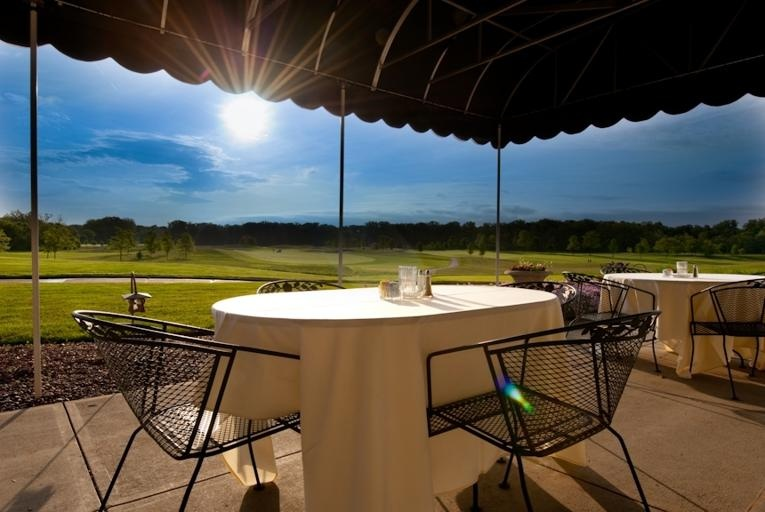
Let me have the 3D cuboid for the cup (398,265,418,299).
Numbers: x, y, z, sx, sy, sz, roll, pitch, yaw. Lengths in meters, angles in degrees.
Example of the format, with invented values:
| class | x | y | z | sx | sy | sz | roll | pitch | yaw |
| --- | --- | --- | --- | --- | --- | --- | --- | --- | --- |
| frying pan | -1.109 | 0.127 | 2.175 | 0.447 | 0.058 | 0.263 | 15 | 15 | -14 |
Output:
| class | x | y | z | sx | sy | sz | roll | pitch | yaw |
| --- | --- | --- | --- | --- | --- | --- | --- | --- | --- |
| cup | 0.191 | 0.221 | 3.765 | 0.204 | 0.385 | 0.218 | 0 | 2 | 0 |

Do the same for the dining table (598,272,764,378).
| class | x | y | z | sx | sy | sz | roll | pitch | yaw |
| --- | --- | --- | --- | --- | --- | --- | --- | --- | --- |
| dining table | 3.269 | 0.678 | 5.177 | 1.458 | 1.023 | 1.534 | -3 | -2 | 29 |

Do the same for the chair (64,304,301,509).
| class | x | y | z | sx | sy | sz | roll | pitch | yaw |
| --- | --- | --- | --- | --- | --- | --- | --- | --- | --- |
| chair | -1.415 | 0.901 | 3.334 | 1.458 | 1.436 | 1.288 | 1 | 1 | -38 |
